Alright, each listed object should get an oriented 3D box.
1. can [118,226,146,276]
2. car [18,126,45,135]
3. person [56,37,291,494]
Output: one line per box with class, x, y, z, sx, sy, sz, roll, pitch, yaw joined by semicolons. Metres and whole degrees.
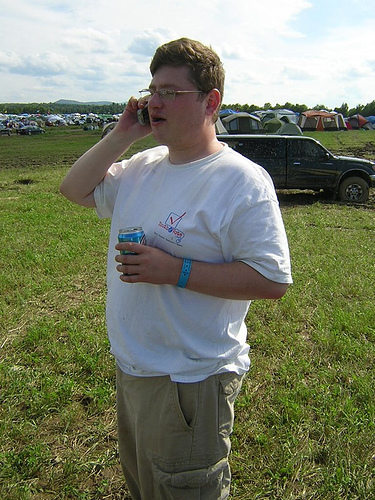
can;-0.198;0.000;1.418;0.121;0.170;0.153;-9;14;-40
car;-16.755;-12.881;40.534;1.430;0.836;2.881;11;19;30
person;-0.064;0.189;1.612;0.549;2.042;0.912;-7;13;-34
